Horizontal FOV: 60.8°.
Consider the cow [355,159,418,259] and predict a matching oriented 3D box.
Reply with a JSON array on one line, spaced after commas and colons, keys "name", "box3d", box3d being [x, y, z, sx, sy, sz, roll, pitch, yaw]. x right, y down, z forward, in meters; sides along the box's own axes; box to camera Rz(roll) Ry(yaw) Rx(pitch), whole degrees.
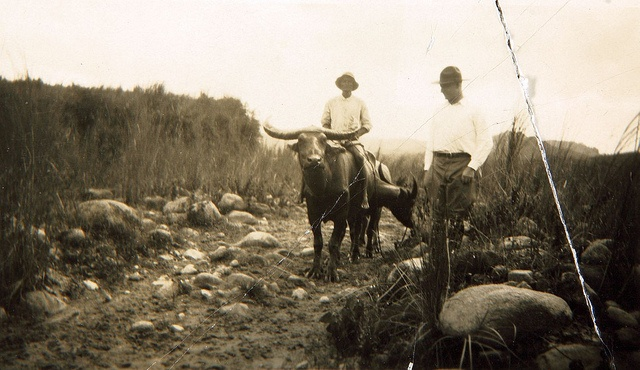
[{"name": "cow", "box3d": [0.661, 0.204, 6.300, 0.327, 1.028, 1.339, -10, 25, -23]}]

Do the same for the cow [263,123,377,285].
[{"name": "cow", "box3d": [0.097, 0.187, 6.212, 0.986, 1.793, 2.356, 0, -2, 11]}]
